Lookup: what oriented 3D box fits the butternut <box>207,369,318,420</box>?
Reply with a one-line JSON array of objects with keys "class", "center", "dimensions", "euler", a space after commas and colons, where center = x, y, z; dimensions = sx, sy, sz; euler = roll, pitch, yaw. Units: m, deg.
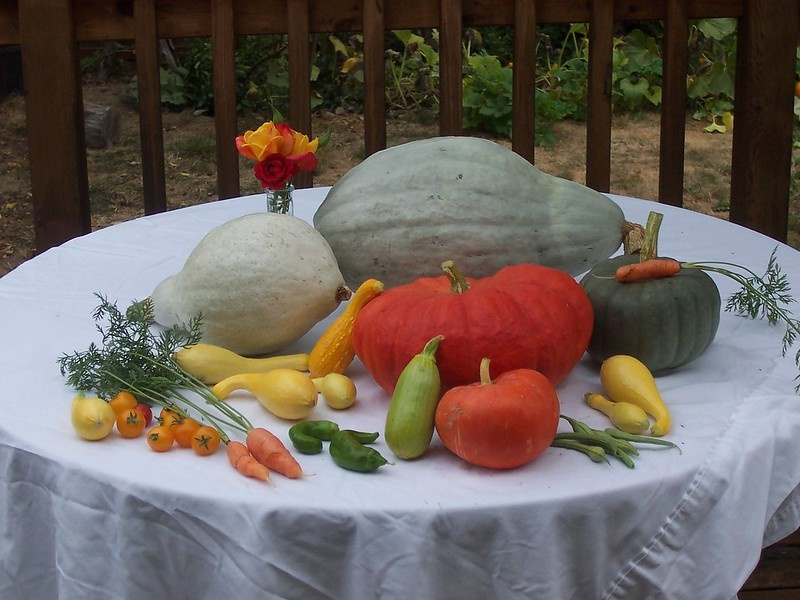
[{"class": "butternut", "center": [-0.231, 0.150, 1.371], "dimensions": [0.186, 0.081, 0.080], "euler": [12, 39, 37]}]

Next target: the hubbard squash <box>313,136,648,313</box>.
[{"class": "hubbard squash", "center": [0.155, -0.160, 1.632], "dimensions": [0.605, 0.340, 0.315], "euler": [1, 8, 4]}]

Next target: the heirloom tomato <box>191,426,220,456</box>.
[{"class": "heirloom tomato", "center": [-0.294, 0.211, 1.212], "dimensions": [0.044, 0.042, 0.044], "euler": [1, 0, 4]}]

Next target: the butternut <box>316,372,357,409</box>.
[{"class": "butternut", "center": [-0.108, 0.151, 1.384], "dimensions": [0.039, 0.043, 0.077], "euler": [44, -13, -34]}]

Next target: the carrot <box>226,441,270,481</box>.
[{"class": "carrot", "center": [-0.226, 0.238, 1.210], "dimensions": [0.028, 0.031, 0.096], "euler": [22, 8, -44]}]

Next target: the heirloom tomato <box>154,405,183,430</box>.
[{"class": "heirloom tomato", "center": [-0.365, 0.187, 1.254], "dimensions": [0.039, 0.035, 0.033], "euler": [14, -22, -35]}]

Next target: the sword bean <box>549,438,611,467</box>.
[{"class": "sword bean", "center": [0.274, 0.225, 1.205], "dimensions": [0.109, 0.025, 0.030], "euler": [15, -17, 34]}]

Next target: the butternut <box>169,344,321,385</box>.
[{"class": "butternut", "center": [-0.283, 0.116, 1.448], "dimensions": [0.248, 0.071, 0.073], "euler": [0, 15, -12]}]

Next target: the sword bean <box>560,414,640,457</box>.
[{"class": "sword bean", "center": [0.301, 0.200, 1.243], "dimensions": [0.140, 0.029, 0.033], "euler": [23, 48, 31]}]

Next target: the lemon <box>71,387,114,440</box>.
[{"class": "lemon", "center": [-0.470, 0.174, 1.225], "dimensions": [0.043, 0.045, 0.085], "euler": [-20, 23, -30]}]

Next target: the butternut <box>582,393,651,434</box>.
[{"class": "butternut", "center": [0.352, 0.183, 1.309], "dimensions": [0.041, 0.046, 0.161], "euler": [6, 9, -22]}]
